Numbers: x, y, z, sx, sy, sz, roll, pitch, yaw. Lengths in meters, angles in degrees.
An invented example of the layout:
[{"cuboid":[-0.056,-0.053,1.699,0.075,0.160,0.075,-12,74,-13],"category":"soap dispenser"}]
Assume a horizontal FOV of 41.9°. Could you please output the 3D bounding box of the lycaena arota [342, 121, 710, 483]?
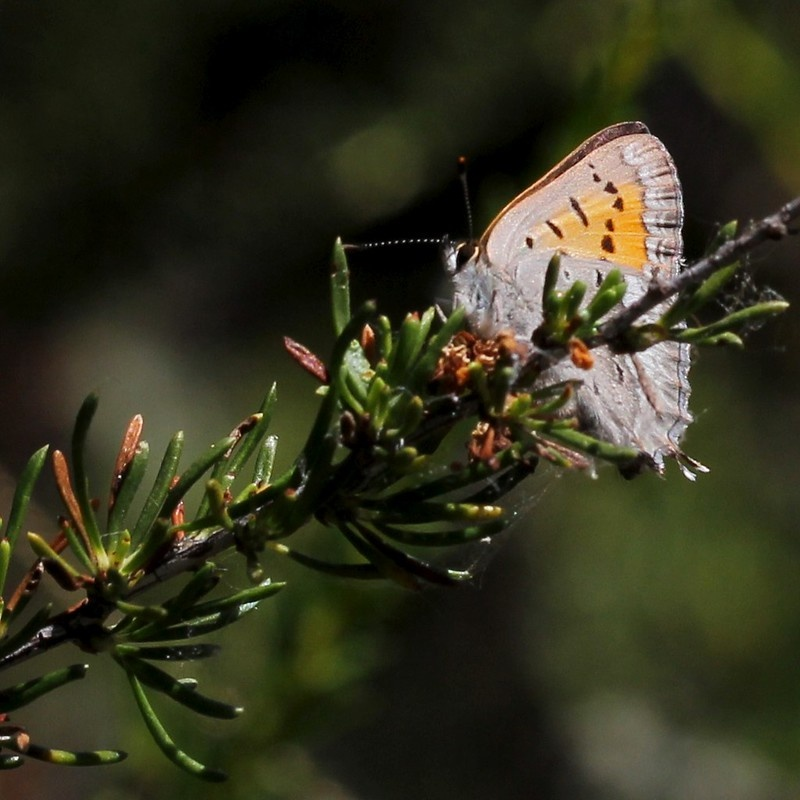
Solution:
[{"cuboid":[0.286,-0.255,2.686,0.907,0.849,0.880,0,13,1],"category":"lycaena arota"}]
